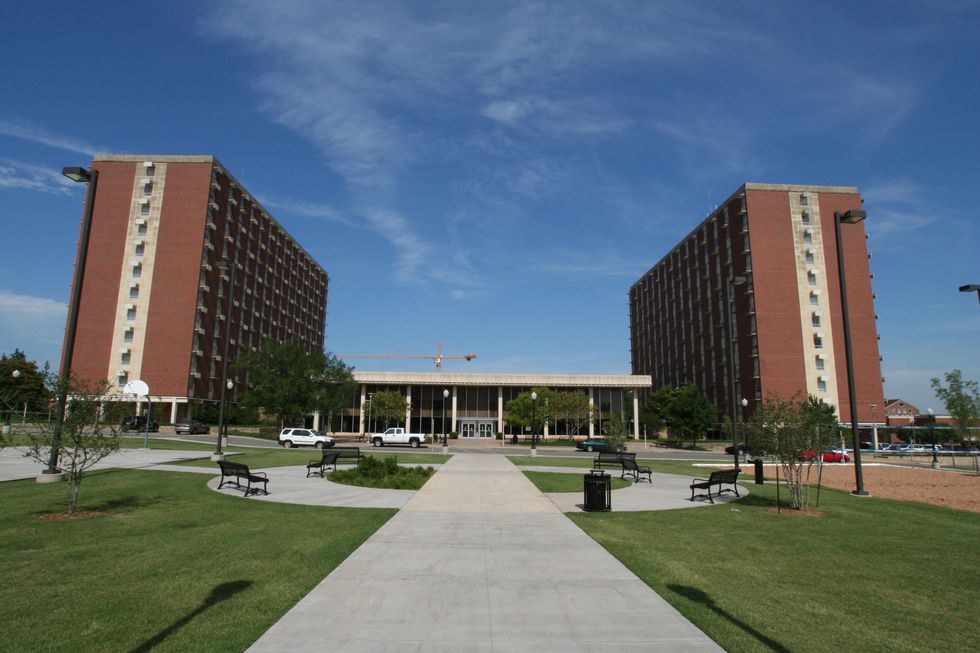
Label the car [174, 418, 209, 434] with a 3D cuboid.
[{"bbox_3d":[-25.062,8.488,58.920,1.324,0.888,2.842,-1,-15,-3],"label":"car"}]

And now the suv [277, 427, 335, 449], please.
[{"bbox_3d":[-13.709,8.252,51.653,3.775,1.261,1.707,-2,-9,5],"label":"suv"}]

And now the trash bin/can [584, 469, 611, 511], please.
[{"bbox_3d":[3.639,5.729,24.284,1.275,1.255,1.121,0,-10,-2],"label":"trash bin/can"}]

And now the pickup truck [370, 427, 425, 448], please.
[{"bbox_3d":[-7.821,9.412,59.460,4.002,1.295,1.823,3,-14,-1],"label":"pickup truck"}]
